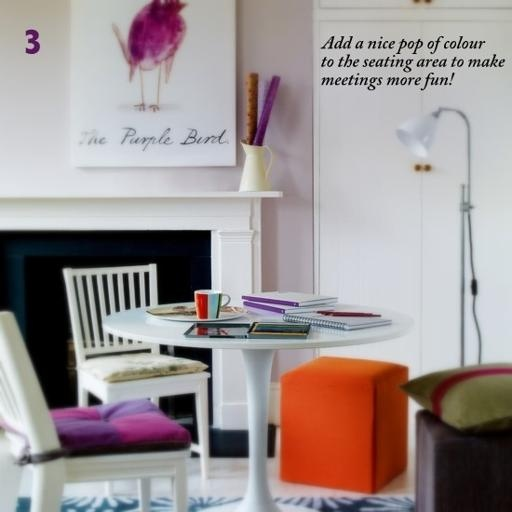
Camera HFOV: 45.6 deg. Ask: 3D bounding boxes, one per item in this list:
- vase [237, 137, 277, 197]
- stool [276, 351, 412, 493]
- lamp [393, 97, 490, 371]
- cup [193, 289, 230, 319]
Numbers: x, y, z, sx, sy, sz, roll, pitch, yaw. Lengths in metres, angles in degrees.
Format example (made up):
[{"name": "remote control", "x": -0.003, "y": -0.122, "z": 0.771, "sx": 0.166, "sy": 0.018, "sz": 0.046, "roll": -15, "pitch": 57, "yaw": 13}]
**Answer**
[{"name": "vase", "x": -0.004, "y": -0.412, "z": 2.815, "sx": 0.166, "sy": 0.224, "sz": 0.256, "roll": -2, "pitch": 8, "yaw": 2}, {"name": "stool", "x": 0.332, "y": 0.639, "z": 2.534, "sx": 0.506, "sy": 0.454, "sz": 0.488, "roll": 0, "pitch": 0, "yaw": 31}, {"name": "lamp", "x": 0.879, "y": -0.097, "z": 2.931, "sx": 0.392, "sy": 1.230, "sz": 0.172, "roll": -1, "pitch": 9, "yaw": 10}, {"name": "cup", "x": -0.125, "y": 0.133, "z": 1.743, "sx": 0.116, "sy": 0.072, "sz": 0.082, "roll": 0, "pitch": -2, "yaw": -14}]
